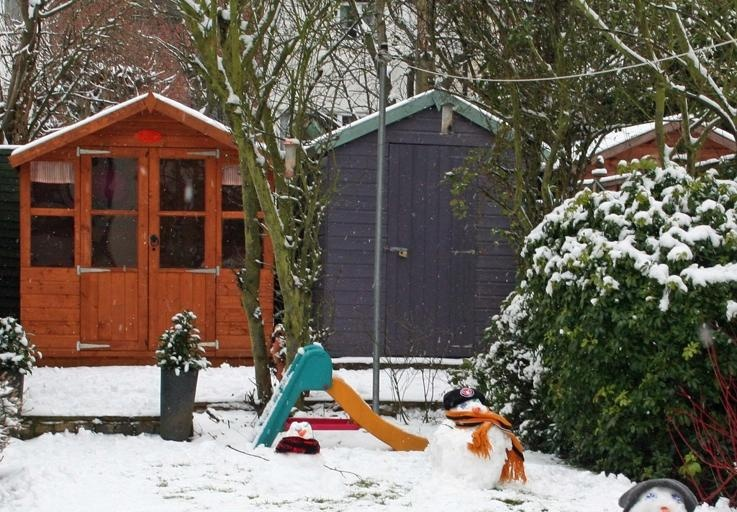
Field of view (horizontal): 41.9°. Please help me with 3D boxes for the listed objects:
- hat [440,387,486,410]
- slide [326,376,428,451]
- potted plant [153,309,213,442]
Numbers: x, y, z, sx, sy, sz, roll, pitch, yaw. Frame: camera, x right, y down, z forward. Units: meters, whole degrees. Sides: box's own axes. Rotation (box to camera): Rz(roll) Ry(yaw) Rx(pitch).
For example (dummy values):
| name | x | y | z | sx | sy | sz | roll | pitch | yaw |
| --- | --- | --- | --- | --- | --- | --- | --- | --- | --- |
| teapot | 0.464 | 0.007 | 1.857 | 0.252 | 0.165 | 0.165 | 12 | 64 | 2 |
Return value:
| name | x | y | z | sx | sy | sz | roll | pitch | yaw |
| --- | --- | --- | --- | --- | --- | --- | --- | --- | --- |
| hat | 1.156 | 1.720 | 11.663 | 0.449 | 0.258 | 0.344 | -2 | -5 | 23 |
| slide | 0.099 | 2.047 | 12.658 | 1.317 | 0.979 | 0.212 | 1 | -4 | -7 |
| potted plant | -2.627 | 1.644 | 13.378 | 0.649 | 1.769 | 0.336 | 2 | -4 | -16 |
